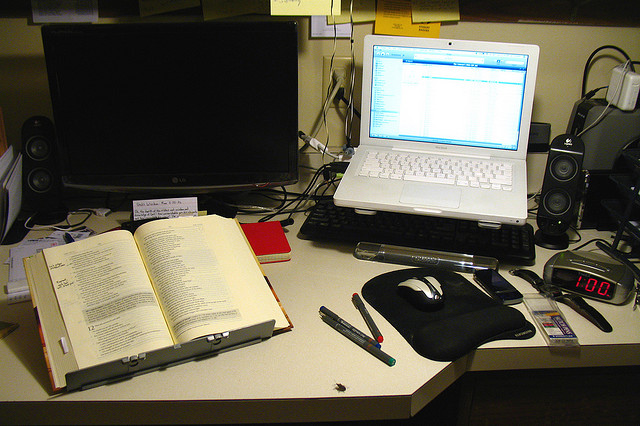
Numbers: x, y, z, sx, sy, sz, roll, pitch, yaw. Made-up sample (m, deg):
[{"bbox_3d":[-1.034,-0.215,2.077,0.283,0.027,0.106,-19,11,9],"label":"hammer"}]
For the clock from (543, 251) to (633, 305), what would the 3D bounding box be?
[{"bbox_3d":[0.693,0.164,1.288,0.205,0.096,0.100,8,23,24],"label":"clock"}]

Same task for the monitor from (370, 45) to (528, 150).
[{"bbox_3d":[0.378,-0.340,1.464,0.482,0.291,0.295,6,26,12],"label":"monitor"}]

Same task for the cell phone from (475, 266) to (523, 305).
[{"bbox_3d":[0.461,0.187,1.275,0.062,0.020,0.102,-17,42,-23],"label":"cell phone"}]

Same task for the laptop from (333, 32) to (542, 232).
[{"bbox_3d":[0.326,-0.235,1.372,0.571,0.326,0.486,2,39,8],"label":"laptop"}]

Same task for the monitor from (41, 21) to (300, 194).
[{"bbox_3d":[-0.414,-0.284,1.446,0.709,0.503,0.083,-1,22,0],"label":"monitor"}]

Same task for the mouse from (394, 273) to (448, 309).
[{"bbox_3d":[0.263,0.188,1.238,0.084,0.033,0.111,-10,22,-26],"label":"mouse"}]

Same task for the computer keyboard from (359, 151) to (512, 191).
[{"bbox_3d":[0.338,-0.124,1.450,0.432,0.077,0.113,2,21,10],"label":"computer keyboard"}]

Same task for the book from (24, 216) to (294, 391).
[{"bbox_3d":[-0.381,0.183,1.157,0.568,0.245,0.287,-7,22,-16],"label":"book"}]
